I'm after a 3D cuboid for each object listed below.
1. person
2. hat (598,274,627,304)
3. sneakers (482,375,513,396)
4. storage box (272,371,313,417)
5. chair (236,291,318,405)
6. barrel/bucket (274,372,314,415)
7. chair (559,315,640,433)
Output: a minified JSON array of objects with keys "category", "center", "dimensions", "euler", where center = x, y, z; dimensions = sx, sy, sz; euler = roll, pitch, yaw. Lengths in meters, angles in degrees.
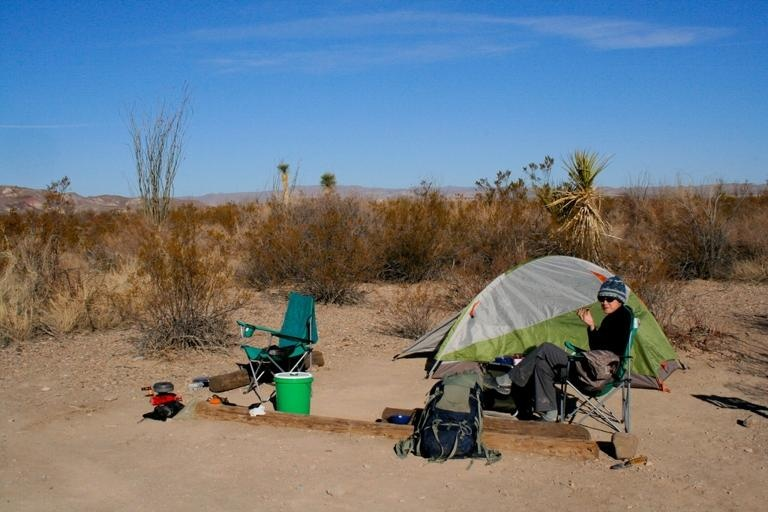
[{"category":"person","center":[2.047,1.089,7.218],"dimensions":[1.395,1.632,0.824],"euler":[2,13,9]},{"category":"hat","center":[2.620,0.371,7.344],"dimensions":[0.331,0.318,0.295],"euler":[17,-20,-25]},{"category":"sneakers","center":[1.284,1.470,7.336],"dimensions":[0.181,0.165,0.448],"euler":[-2,8,-23]},{"category":"storage box","center":[-1.033,1.569,7.344],"dimensions":[0.462,0.415,0.460],"euler":[0,-5,-8]},{"category":"chair","center":[-1.389,1.148,8.236],"dimensions":[1.029,1.244,1.038],"euler":[0,5,-5]},{"category":"barrel/bucket","center":[-1.041,1.554,7.413],"dimensions":[0.453,0.445,0.468],"euler":[-1,-2,0]},{"category":"chair","center":[2.438,1.333,7.386],"dimensions":[0.998,1.379,0.992],"euler":[1,-2,-9]}]
